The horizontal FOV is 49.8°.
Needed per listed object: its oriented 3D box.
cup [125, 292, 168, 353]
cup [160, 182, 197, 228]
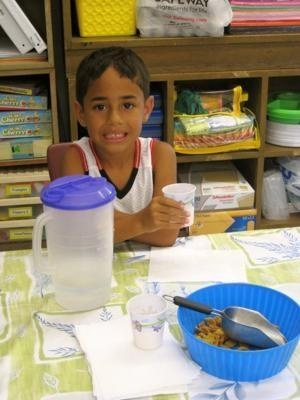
[{"bbox_3d":[-0.004,0.196,0.543,0.082,0.080,0.075,0,26,0],"label":"cup"},{"bbox_3d":[0.063,0.005,0.836,0.100,0.103,0.098,-3,23,1],"label":"cup"}]
